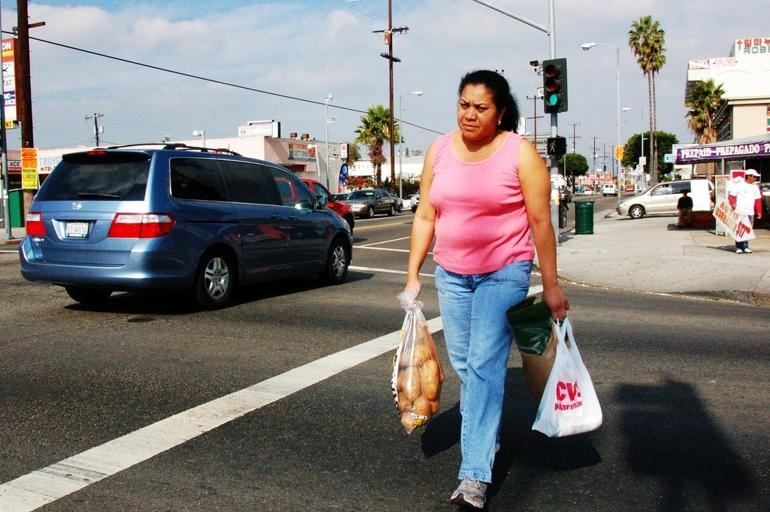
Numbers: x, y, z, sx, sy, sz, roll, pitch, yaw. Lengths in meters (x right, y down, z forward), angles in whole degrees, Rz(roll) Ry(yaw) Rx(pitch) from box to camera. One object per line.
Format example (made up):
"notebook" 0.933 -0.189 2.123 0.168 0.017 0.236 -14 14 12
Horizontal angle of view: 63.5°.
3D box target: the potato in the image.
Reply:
"potato" 0.238 0.827 4.419 0.359 0.712 0.255 -2 -4 34

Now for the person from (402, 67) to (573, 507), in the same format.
"person" 0.666 0.113 4.305 0.828 2.736 0.851 -6 11 -33

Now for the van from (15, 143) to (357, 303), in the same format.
"van" -2.848 -0.447 9.747 2.302 1.792 4.646 1 5 28

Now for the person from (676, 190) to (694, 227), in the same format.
"person" 11.265 -1.713 23.289 0.481 1.251 0.642 5 11 24

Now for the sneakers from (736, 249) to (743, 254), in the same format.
"sneakers" 8.917 -0.141 15.592 0.104 0.094 0.207 -2 -3 11

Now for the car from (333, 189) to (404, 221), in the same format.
"car" -0.860 -3.367 39.368 1.741 1.315 4.204 -1 -1 23

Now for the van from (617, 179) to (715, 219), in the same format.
"van" 14.429 -3.179 31.995 4.235 1.877 2.088 2 1 11

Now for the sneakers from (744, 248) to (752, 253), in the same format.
"sneakers" 9.192 -0.157 15.689 0.115 0.095 0.217 0 1 9
